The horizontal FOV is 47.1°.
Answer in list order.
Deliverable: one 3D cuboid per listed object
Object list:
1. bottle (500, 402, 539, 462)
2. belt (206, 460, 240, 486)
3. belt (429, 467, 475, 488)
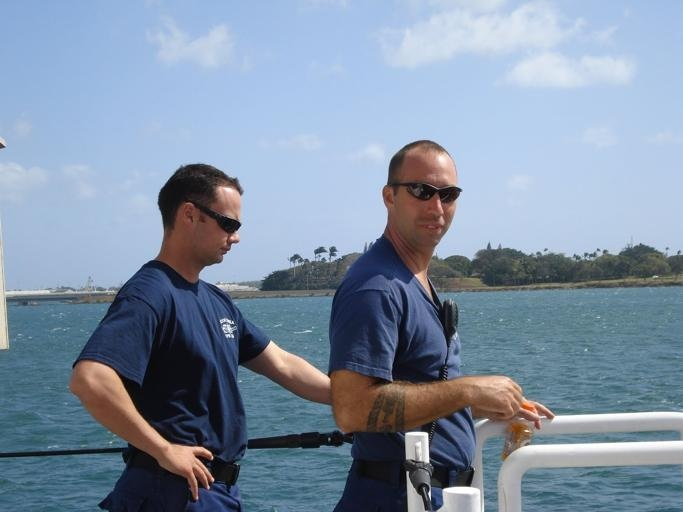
[{"bbox_3d":[1.132,1.117,5.011,0.149,0.270,0.537,13,14,26],"label":"bottle"},{"bbox_3d":[-0.782,1.455,5.313,0.214,0.148,0.230,6,5,2],"label":"belt"},{"bbox_3d":[0.723,1.373,4.936,0.211,0.103,0.166,-1,-3,33],"label":"belt"}]
